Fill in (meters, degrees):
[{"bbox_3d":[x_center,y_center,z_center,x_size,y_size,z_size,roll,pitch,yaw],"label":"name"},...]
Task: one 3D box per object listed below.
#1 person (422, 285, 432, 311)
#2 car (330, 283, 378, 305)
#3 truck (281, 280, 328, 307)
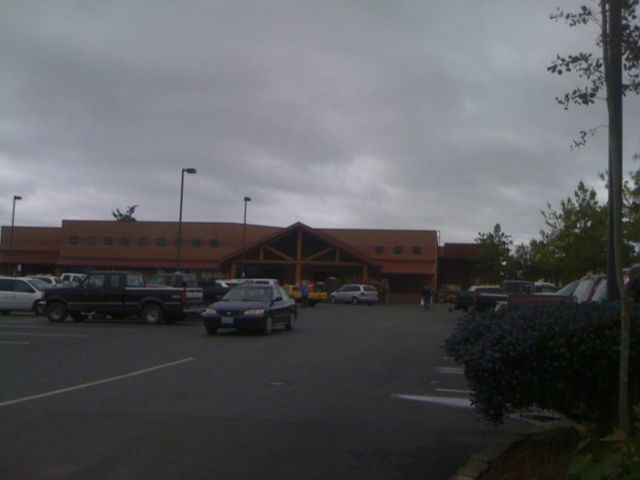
[{"bbox_3d":[7.366,3.959,40.967,0.550,1.646,1.211,0,-2,2],"label":"person"},{"bbox_3d":[2.934,4.357,48.672,3.004,1.255,1.704,3,0,39],"label":"car"},{"bbox_3d":[-0.718,4.154,43.050,3.375,1.771,2.257,2,-2,-27],"label":"truck"}]
